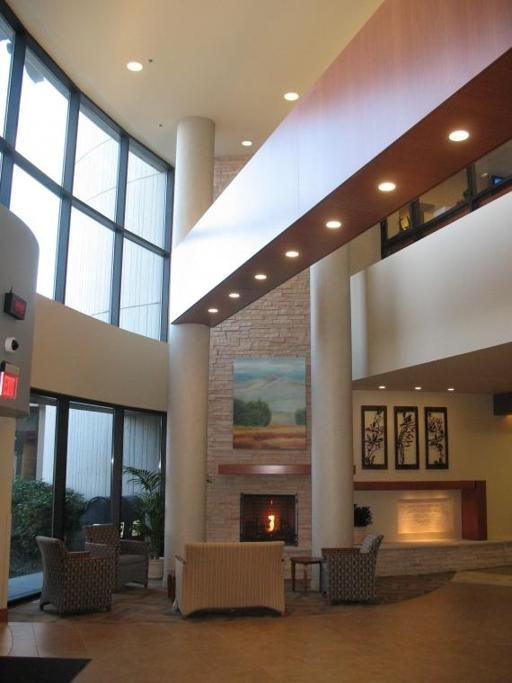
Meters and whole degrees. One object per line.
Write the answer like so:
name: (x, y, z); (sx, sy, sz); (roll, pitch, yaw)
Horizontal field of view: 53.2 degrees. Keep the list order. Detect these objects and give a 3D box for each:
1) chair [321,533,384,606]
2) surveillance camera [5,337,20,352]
chair: (1.254, 3.178, 7.176); (0.870, 1.000, 0.689); (0, -17, 3)
surveillance camera: (-1.907, 0.025, 4.015); (0.078, 0.119, 0.105); (-2, -4, 15)
